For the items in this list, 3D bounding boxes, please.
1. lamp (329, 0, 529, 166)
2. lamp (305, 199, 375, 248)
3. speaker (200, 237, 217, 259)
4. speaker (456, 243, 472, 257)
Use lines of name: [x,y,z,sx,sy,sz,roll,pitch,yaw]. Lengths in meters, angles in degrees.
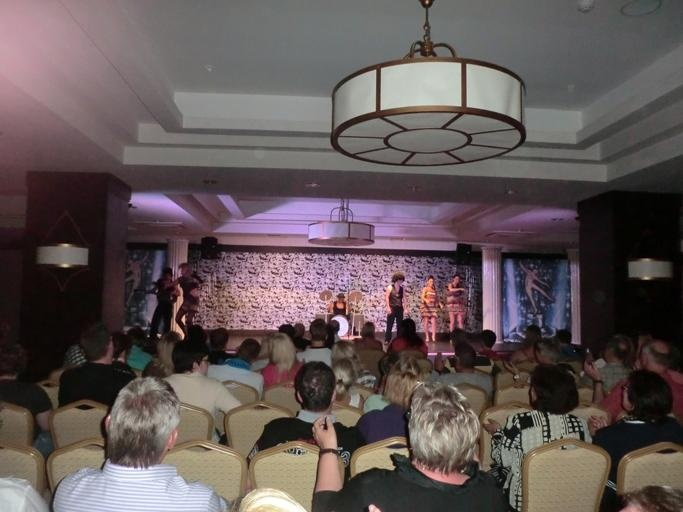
lamp: [0.646,-1.043,4.189,1.366,1.455,1.350,0,-8,0]
lamp: [-0.007,-1.065,11.098,1.292,1.453,1.291,-1,-4,17]
speaker: [-3.378,-0.251,13.177,0.399,0.563,0.371,4,-7,-14]
speaker: [3.536,-0.189,15.226,0.341,0.335,0.181,8,-17,-26]
